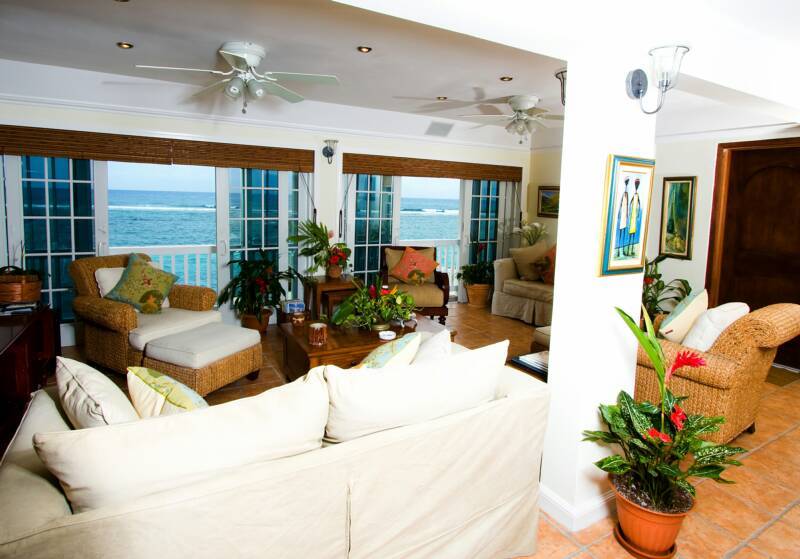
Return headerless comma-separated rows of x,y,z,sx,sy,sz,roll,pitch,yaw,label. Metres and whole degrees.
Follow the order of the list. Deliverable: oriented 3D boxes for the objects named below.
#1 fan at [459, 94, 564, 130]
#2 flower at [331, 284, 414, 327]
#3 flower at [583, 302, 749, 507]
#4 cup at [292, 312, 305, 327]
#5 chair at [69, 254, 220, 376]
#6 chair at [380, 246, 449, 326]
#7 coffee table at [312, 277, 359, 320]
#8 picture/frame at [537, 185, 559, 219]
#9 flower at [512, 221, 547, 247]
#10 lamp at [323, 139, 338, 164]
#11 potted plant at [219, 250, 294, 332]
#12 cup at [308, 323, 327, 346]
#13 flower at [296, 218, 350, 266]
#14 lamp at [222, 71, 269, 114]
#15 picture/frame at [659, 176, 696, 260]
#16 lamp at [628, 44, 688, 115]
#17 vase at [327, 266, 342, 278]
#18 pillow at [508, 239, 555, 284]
1.274,-1.949,5.940,0.892,0.415,0.872,-2,10,-10,fan
-0.249,0.251,4.891,0.779,0.383,0.671,1,10,24,flower
1.478,0.834,3.008,0.947,1.180,0.935,-2,5,29,flower
-0.948,0.380,4.917,0.122,0.114,0.119,2,2,0,cup
-2.499,0.345,5.094,1.279,1.006,1.194,8,12,21,chair
0.207,0.004,6.904,0.837,1.125,1.095,0,6,-8,chair
-0.787,0.265,6.509,0.666,0.487,0.660,-6,5,-33,coffee table
2.244,-1.184,7.827,0.136,0.504,0.521,-3,6,-10,picture/frame
1.982,-0.737,8.064,0.433,0.479,0.421,9,14,39,flower
-0.865,-1.618,6.486,0.204,0.279,0.221,-3,6,-9,lamp
-1.672,0.078,6.481,0.965,0.959,0.949,2,14,-8,potted plant
-0.691,0.467,4.441,0.172,0.176,0.163,3,8,0,cup
-0.997,-0.452,6.519,0.669,0.628,0.585,-3,6,-12,flower
-1.462,-1.764,4.845,0.332,0.247,0.550,28,8,-28,lamp
3.225,-0.717,6.045,0.072,0.957,0.400,-5,7,-26,picture/frame
1.437,-1.123,2.913,0.227,0.331,0.331,-16,31,-22,lamp
-0.797,-0.093,6.325,0.140,0.128,0.138,8,9,-2,vase
1.863,-0.213,7.225,0.589,0.550,0.171,-6,-16,-17,pillow
